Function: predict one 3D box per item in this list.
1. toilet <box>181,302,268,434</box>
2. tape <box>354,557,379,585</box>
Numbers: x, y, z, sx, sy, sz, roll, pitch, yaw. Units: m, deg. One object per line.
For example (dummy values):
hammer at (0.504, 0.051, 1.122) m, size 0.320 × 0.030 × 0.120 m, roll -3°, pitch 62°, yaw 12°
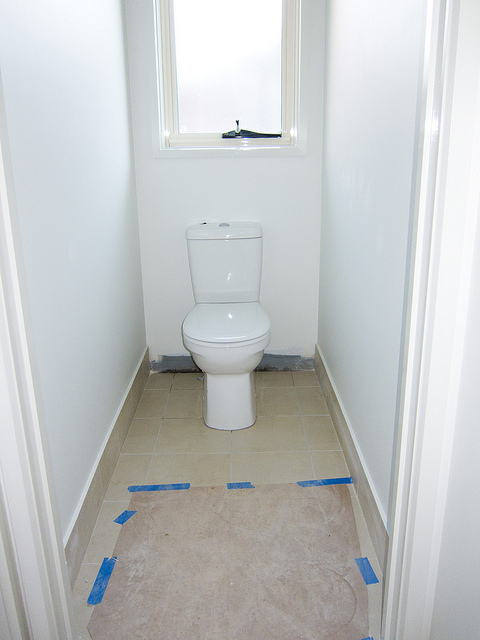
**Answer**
toilet at (-0.060, 0.174, 2.142) m, size 0.250 × 0.516 × 0.561 m, roll -1°, pitch 25°, yaw 0°
tape at (0.350, 0.690, 1.323) m, size 0.037 × 0.006 × 0.097 m, roll -3°, pitch 17°, yaw -7°
